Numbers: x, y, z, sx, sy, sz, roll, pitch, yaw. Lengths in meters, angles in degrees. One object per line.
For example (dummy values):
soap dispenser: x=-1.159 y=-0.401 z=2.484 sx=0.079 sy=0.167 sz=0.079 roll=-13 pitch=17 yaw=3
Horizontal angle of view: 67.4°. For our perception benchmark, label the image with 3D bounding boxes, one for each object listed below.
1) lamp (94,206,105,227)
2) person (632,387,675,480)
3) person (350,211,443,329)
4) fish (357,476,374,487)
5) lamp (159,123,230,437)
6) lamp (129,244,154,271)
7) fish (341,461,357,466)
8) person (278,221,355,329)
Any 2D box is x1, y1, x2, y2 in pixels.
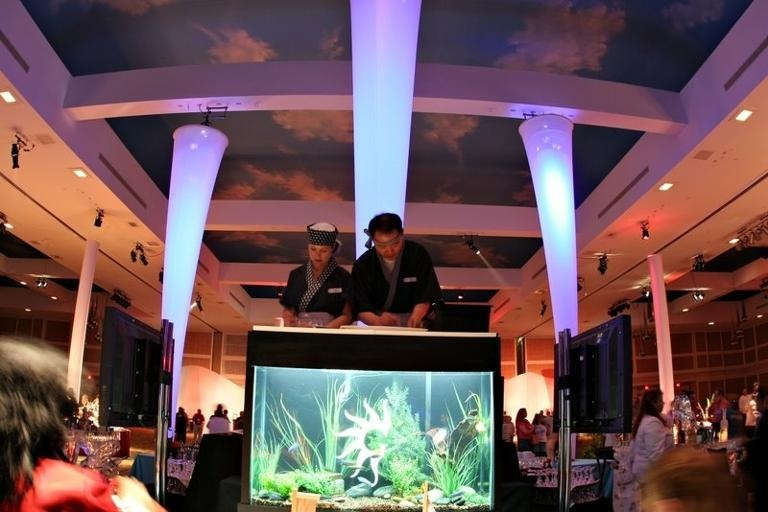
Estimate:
lamp: x=-5.206 y=-0.714 z=10.581 sx=0.214 sy=0.383 sz=0.133 roll=3 pitch=-3 yaw=30
person: x=2.924 y=1.956 z=6.361 sx=0.435 sy=0.939 sz=0.323 roll=-8 pitch=-23 yaw=20
person: x=0.077 y=0.183 z=4.870 sx=0.749 sy=1.023 sz=0.844 roll=2 pitch=20 yaw=25
fish: x=-0.127 y=1.530 z=3.908 sx=0.115 sy=0.042 sz=0.039 roll=19 pitch=2 yaw=10
lamp: x=-2.811 y=-0.150 z=8.077 sx=0.707 sy=3.535 sz=0.803 roll=12 pitch=-24 yaw=-27
lamp: x=-5.290 y=-0.079 z=12.520 sx=0.455 sy=0.232 sz=0.581 roll=26 pitch=-39 yaw=0
fish: x=-0.235 y=1.403 z=3.906 sx=0.081 sy=0.024 sz=0.010 roll=0 pitch=-22 yaw=0
person: x=-0.625 y=0.223 z=5.002 sx=0.691 sy=0.982 sz=0.646 roll=5 pitch=5 yaw=20
